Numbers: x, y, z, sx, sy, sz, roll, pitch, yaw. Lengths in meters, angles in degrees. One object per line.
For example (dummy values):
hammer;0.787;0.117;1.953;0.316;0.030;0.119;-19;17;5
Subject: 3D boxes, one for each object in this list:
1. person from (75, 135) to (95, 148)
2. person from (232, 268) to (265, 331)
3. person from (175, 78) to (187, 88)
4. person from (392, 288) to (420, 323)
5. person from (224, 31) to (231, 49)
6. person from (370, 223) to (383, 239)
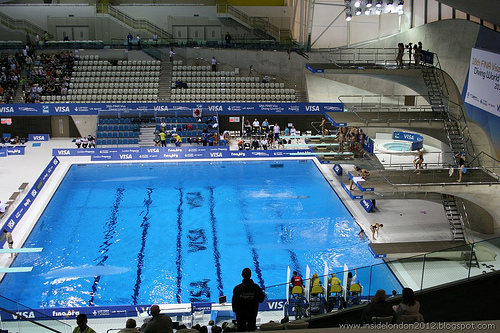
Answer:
person;-12.101;-1.743;32.571;1.295;1.426;1.156;3;-25;-17
person;-0.058;3.450;11.359;0.805;1.524;1.098;-4;-24;-4
person;-5.900;-7.090;37.713;1.010;0.618;0.511;-1;-20;1
person;3.542;3.186;10.055;0.597;0.778;0.556;8;-28;-27
person;-1.985;-11.470;40.145;0.611;1.212;1.021;-2;-24;-6
person;6.263;3.229;21.826;0.567;0.871;1.038;-12;-25;14
